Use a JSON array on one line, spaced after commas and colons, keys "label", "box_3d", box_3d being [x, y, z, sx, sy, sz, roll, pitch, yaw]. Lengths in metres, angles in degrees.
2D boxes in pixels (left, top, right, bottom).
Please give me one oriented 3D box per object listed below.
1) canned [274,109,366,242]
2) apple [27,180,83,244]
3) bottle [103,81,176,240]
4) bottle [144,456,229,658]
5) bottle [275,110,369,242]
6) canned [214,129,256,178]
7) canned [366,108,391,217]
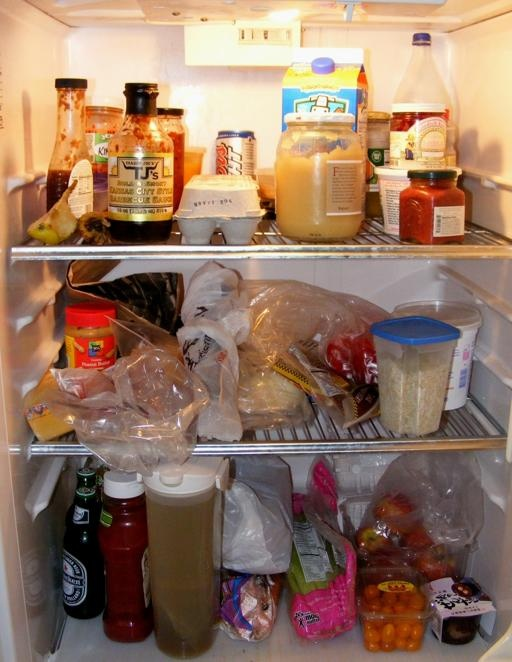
[{"label": "canned", "box_3d": [0.099, -0.241, 0.853, 0.144, 0.187, 0.144, 2, 18, 7]}, {"label": "apple", "box_3d": [-0.295, -0.173, 0.791, 0.073, 0.091, 0.106, -6, 16, -19]}, {"label": "bottle", "box_3d": [-0.168, -0.244, 0.795, 0.095, 0.226, 0.069, -9, 17, -28]}, {"label": "bottle", "box_3d": [-0.113, 0.400, 0.977, 0.157, 0.409, 0.123, -7, 16, -23]}, {"label": "bottle", "box_3d": [0.093, -0.220, 0.789, 0.169, 0.218, 0.168, 0, 11, 0]}, {"label": "canned", "box_3d": [-0.038, -0.329, 1.005, 0.074, 0.085, 0.095, -1, 15, -2]}, {"label": "canned", "box_3d": [0.230, -0.311, 1.026, 0.041, 0.195, 0.072, 3, 15, 13]}]
